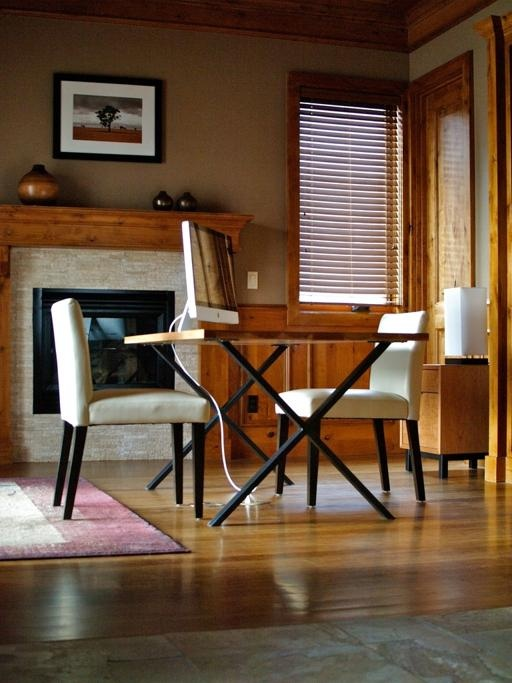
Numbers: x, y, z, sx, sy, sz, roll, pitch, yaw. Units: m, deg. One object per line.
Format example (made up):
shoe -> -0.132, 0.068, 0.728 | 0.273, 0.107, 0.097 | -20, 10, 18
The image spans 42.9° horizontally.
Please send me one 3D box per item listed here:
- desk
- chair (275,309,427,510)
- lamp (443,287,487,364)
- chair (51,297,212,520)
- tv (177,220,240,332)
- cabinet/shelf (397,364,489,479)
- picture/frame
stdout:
desk -> 0.093, 0.185, 2.731 | 0.951, 0.726, 0.913 | 0, -4, -16
chair -> 0.441, 0.288, 2.989 | 0.650, 0.912, 0.638 | 2, -3, 6
lamp -> 1.207, -0.136, 3.784 | 0.231, 0.442, 0.249 | -8, 10, -28
chair -> -0.486, 0.273, 2.552 | 0.549, 0.733, 0.482 | 3, -7, -21
tv -> -0.149, -0.278, 2.603 | 0.054, 0.379, 0.520 | -10, 15, -24
cabinet/shelf -> 1.158, 0.442, 3.913 | 0.413, 0.649, 0.456 | 1, -1, -23
picture/frame -> -1.002, -1.459, 4.237 | 0.617, 0.500, 0.044 | 1, -1, -10
